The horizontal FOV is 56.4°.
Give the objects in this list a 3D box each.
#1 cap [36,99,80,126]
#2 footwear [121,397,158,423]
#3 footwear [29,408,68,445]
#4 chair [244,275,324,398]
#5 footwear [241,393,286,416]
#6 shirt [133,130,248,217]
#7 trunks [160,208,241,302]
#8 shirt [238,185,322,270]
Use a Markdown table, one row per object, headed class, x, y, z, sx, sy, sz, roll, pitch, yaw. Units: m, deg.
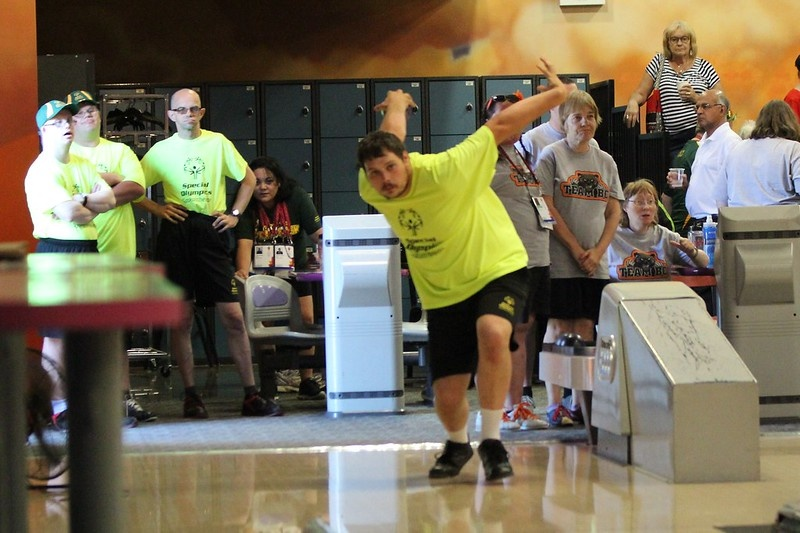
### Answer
| class | x | y | z | sx | sy | sz | roll | pitch | yaw |
| --- | --- | --- | --- | --- | --- | --- | --- | --- | --- |
| cap | -2.280 | -0.996 | 4.900 | 0.208 | 0.154 | 0.146 | -2 | 3 | -13 |
| footwear | -1.889 | 1.008 | 5.261 | 0.310 | 0.139 | 0.102 | 6 | 8 | 14 |
| footwear | -1.809 | 0.857 | 3.943 | 0.123 | 0.199 | 0.207 | 1 | -9 | 1 |
| chair | -0.858 | 0.540 | 5.887 | 0.744 | 0.933 | 0.691 | -3 | -5 | 34 |
| footwear | -1.003 | 1.007 | 5.483 | 0.297 | 0.125 | 0.139 | -1 | -1 | 17 |
| shirt | -1.650 | -0.716 | 5.775 | 1.024 | 0.842 | 0.366 | -6 | 0 | -14 |
| trunks | -1.397 | -0.090 | 5.162 | 0.659 | 0.771 | 0.463 | -3 | -5 | -20 |
| shirt | -1.056 | -0.329 | 6.400 | 0.603 | 0.810 | 0.428 | 3 | -15 | -18 |
